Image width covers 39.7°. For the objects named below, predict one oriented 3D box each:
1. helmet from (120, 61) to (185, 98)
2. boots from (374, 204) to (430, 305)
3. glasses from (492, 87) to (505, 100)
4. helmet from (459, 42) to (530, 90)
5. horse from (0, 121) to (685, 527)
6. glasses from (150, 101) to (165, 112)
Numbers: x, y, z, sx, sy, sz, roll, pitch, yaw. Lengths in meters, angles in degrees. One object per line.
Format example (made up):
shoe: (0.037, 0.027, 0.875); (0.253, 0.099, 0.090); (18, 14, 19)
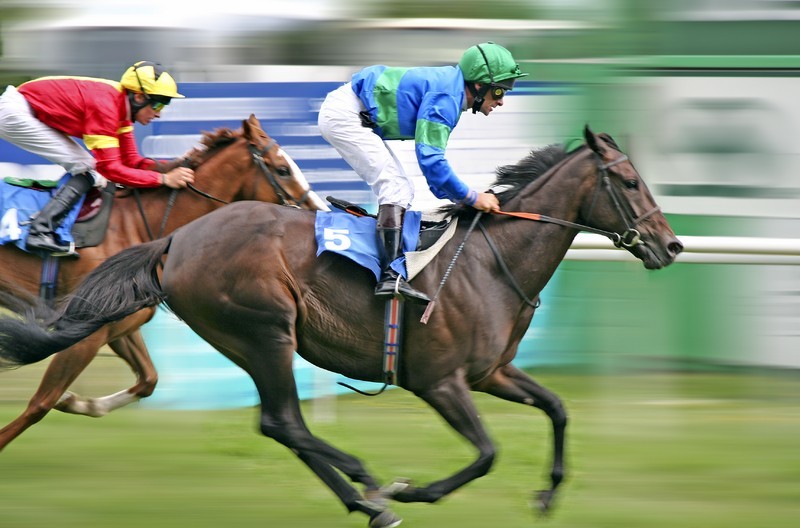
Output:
helmet: (-1.418, -1.054, 6.364); (0.369, 0.109, 0.206); (4, 15, -6)
boots: (0.000, -0.054, 5.642); (0.262, 0.466, 0.324); (-2, 21, 0)
glasses: (0.517, -0.917, 5.916); (0.083, 0.051, 0.026); (5, 14, -3)
helmet: (0.458, -1.063, 5.862); (0.407, 0.146, 0.223); (1, 26, -1)
horse: (-0.139, 0.350, 5.772); (3.081, 2.051, 1.119); (-7, 22, -19)
glasses: (-1.412, -0.921, 6.476); (0.069, 0.057, 0.014); (11, 60, -31)
